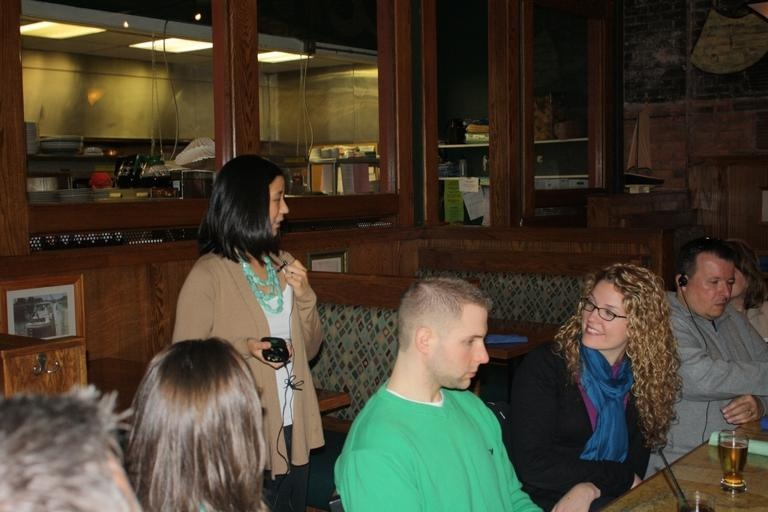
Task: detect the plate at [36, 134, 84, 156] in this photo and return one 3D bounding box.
[{"bbox_3d":[-2.855,-0.980,5.225,0.345,0.140,0.339,-1,-1,-5],"label":"plate"}]

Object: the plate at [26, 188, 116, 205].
[{"bbox_3d":[-1.624,-0.320,3.110,0.068,0.071,0.456,-1,4,44],"label":"plate"}]

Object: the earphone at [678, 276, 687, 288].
[{"bbox_3d":[1.443,0.124,2.828,0.039,0.052,0.018,-1,-4,40],"label":"earphone"}]

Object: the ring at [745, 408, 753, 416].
[{"bbox_3d":[1.614,0.689,2.587,0.024,0.024,0.007,-3,-2,-8],"label":"ring"}]

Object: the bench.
[{"bbox_3d":[0.369,0.508,2.394,0.976,1.060,1.431,-3,-3,40],"label":"bench"}]

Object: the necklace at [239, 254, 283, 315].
[{"bbox_3d":[-0.496,0.115,2.397,0.141,0.227,0.046,-13,-9,-42],"label":"necklace"}]

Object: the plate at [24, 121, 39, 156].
[{"bbox_3d":[-2.186,-0.738,3.647,0.064,0.208,0.647,-5,3,-30],"label":"plate"}]
